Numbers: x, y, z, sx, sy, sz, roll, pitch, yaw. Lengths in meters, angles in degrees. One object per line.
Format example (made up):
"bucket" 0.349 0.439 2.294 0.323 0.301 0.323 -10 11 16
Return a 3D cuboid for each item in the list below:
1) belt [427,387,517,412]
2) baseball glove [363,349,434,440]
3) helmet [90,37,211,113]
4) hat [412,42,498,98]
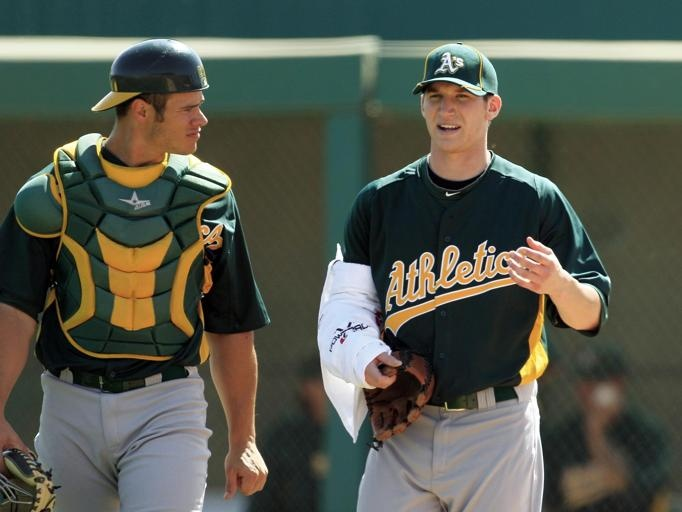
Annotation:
"belt" 0.642 0.677 5.968 0.419 0.115 0.048 0 13 0
"baseball glove" 0.298 0.707 6.072 0.126 0.356 0.411 -34 7 -34
"helmet" -0.914 -0.862 6.002 0.437 0.248 0.325 -3 6 -3
"hat" 0.571 -0.895 5.977 0.244 0.201 0.327 11 1 39
